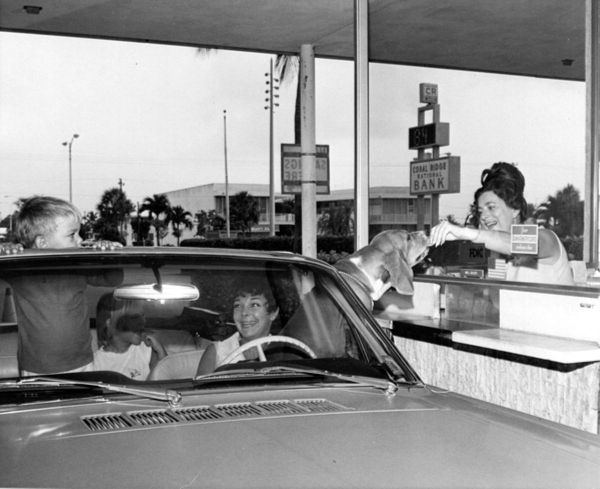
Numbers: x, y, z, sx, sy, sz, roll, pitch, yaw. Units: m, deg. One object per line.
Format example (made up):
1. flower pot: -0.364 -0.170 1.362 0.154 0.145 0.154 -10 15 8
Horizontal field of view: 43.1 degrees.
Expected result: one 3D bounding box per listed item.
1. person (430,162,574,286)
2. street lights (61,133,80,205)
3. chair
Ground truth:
1. person: 1.729 -0.165 6.839 0.845 1.743 0.674 -9 4 -20
2. street lights: -6.269 -2.056 20.754 0.462 1.843 0.742 0 12 -10
3. chair: -0.762 0.414 3.986 0.508 0.689 0.445 2 -1 -11
